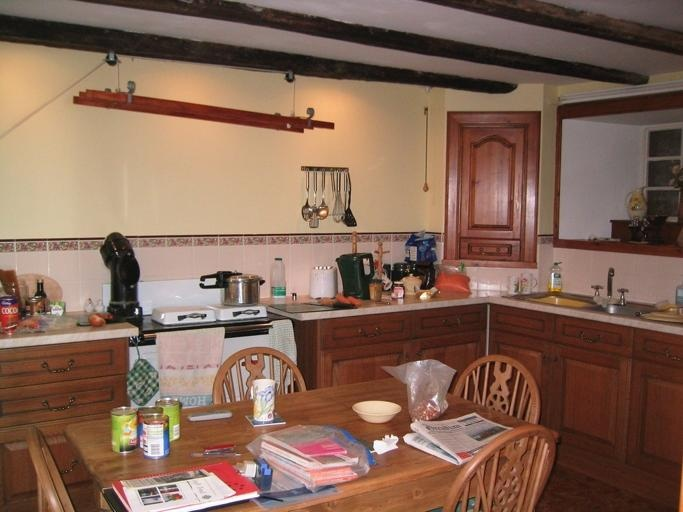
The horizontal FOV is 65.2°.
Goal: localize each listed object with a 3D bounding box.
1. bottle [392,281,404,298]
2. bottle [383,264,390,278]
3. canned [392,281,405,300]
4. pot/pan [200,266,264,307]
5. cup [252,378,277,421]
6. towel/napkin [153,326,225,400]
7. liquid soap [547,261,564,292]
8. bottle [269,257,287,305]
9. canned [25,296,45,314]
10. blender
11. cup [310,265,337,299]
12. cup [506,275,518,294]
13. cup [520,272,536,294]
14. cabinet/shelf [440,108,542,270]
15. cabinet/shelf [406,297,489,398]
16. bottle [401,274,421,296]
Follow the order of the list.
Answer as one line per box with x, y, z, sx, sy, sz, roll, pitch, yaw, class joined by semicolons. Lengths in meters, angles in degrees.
0.480;0.279;4.501;0.126;0.161;0.126;0;7;0;bottle
0.430;0.134;4.986;0.041;0.135;0.142;8;12;25;bottle
0.472;0.298;4.527;0.138;0.167;0.131;0;5;-2;canned
-0.821;0.232;3.987;0.426;0.192;0.253;0;2;-4;pot/pan
-0.339;0.619;2.293;0.112;0.161;0.172;0;5;-10;cup
-0.984;0.688;3.382;0.478;0.553;0.066;-2;3;-22;towel/napkin
1.953;0.161;4.860;0.114;0.266;0.447;7;11;21;liquid soap
-0.526;0.187;4.457;0.144;0.333;0.270;1;11;-7;bottle
-1.972;0.313;3.460;0.115;0.098;0.113;2;0;-43;canned
-1.519;0.149;3.681;0.246;0.563;0.477;-3;12;-24;blender
-0.124;0.221;4.437;0.251;0.248;0.251;0;6;0;cup
1.531;0.271;4.853;0.142;0.205;0.136;2;-2;0;cup
1.683;0.246;4.827;0.215;0.202;0.123;0;0;4;cup
1.400;-0.630;4.979;0.892;1.401;0.259;4;12;9;cabinet/shelf
0.796;0.744;4.751;0.885;0.793;0.561;-2;4;-32;cabinet/shelf
0.615;0.258;4.698;0.177;0.146;0.146;2;1;9;bottle
